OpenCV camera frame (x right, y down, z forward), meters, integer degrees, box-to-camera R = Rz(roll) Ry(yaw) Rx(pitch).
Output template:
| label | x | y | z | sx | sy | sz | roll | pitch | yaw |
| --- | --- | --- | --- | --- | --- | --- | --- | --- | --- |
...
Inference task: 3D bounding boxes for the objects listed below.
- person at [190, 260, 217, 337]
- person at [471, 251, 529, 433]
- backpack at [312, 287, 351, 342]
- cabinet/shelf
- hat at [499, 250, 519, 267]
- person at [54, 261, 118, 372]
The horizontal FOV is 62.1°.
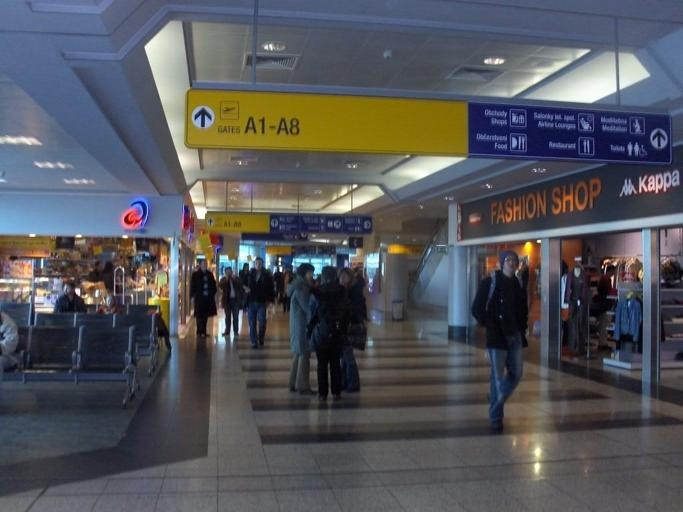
| label | x | y | z | sx | sy | sz | roll | pitch | yaw |
| --- | --- | --- | --- | --- | --- | --- | --- | --- | --- |
| person | -3.681 | 1.141 | 14.999 | 0.579 | 1.412 | 0.827 | 1 | 0 | 4 |
| person | 2.077 | 1.075 | 7.399 | 0.744 | 2.206 | 0.409 | 0 | 0 | -24 |
| backpack | -0.161 | 0.863 | 8.229 | 0.607 | 0.937 | 0.455 | 2 | -15 | -8 |
| cabinet/shelf | 6.265 | 1.432 | 11.634 | 1.761 | 1.887 | 0.956 | 0 | 0 | -19 |
| hat | 2.239 | 0.036 | 7.578 | 0.216 | 0.291 | 0.289 | 0 | 0 | -23 |
| person | -4.902 | 1.112 | 10.785 | 1.109 | 3.036 | 0.855 | -1 | -7 | -14 |
